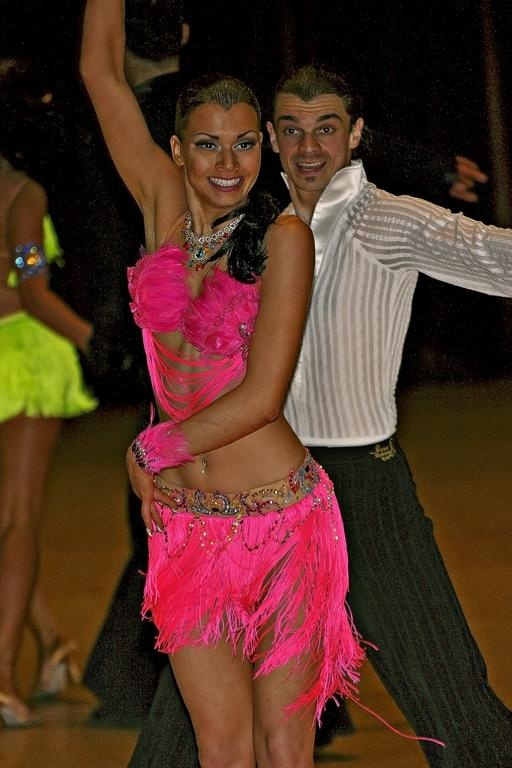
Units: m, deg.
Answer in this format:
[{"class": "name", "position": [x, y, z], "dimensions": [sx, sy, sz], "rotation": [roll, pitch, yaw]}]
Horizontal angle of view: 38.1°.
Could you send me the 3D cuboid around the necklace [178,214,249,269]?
[{"class": "necklace", "position": [-0.070, -0.233, 1.192], "dimensions": [0.082, 0.060, 0.099], "rotation": [17, 35, 28]}]
